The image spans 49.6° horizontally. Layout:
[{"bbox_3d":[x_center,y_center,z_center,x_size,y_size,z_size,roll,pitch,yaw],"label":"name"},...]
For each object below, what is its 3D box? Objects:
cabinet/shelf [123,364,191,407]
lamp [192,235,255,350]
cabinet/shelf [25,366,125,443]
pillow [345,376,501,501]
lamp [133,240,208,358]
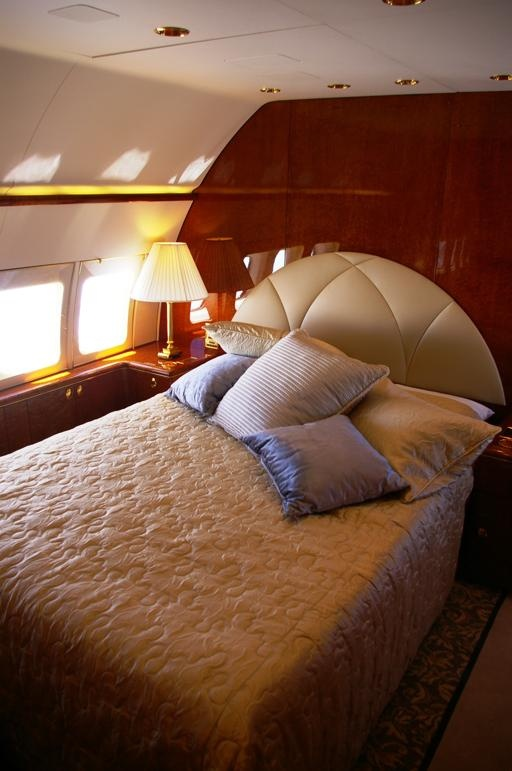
[{"bbox_3d":[-0.589,-0.032,3.426,0.360,0.345,0.259,14,21,35],"label":"cabinet/shelf"},{"bbox_3d":[-0.219,-0.639,3.512,0.498,0.603,0.497,-3,31,-7],"label":"lamp"},{"bbox_3d":[-1.005,0.148,3.255,0.624,0.196,0.365,-17,58,3],"label":"cabinet/shelf"},{"bbox_3d":[0.572,0.156,2.137,0.403,0.174,0.584,-27,27,-12],"label":"pillow"},{"bbox_3d":[-0.508,-0.549,3.376,0.484,0.712,0.485,13,28,25],"label":"lamp"}]
